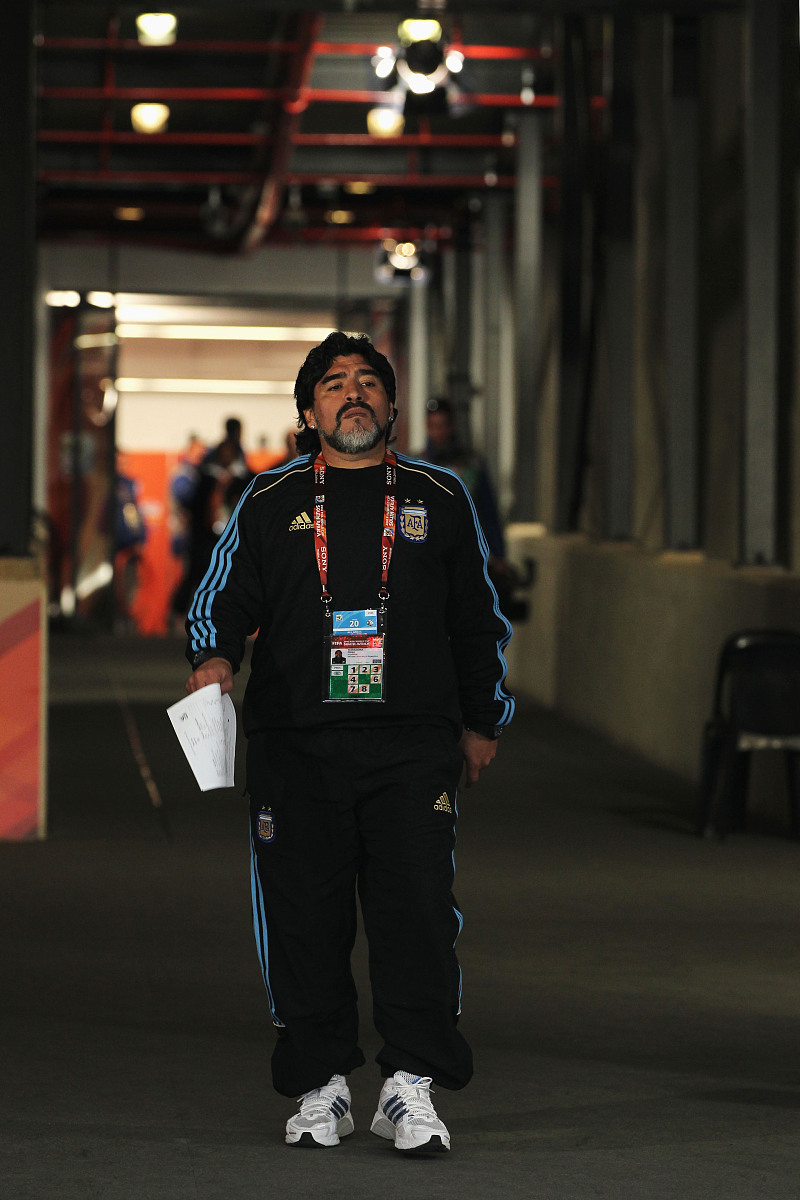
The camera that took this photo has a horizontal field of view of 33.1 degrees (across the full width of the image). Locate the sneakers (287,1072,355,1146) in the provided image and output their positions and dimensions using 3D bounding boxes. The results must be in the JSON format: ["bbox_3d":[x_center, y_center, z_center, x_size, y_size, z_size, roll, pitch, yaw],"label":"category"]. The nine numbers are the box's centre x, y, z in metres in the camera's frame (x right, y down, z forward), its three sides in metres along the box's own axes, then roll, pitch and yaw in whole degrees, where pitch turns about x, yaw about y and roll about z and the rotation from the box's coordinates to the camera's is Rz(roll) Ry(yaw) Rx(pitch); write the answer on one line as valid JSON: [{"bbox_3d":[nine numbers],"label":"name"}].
[{"bbox_3d":[-0.125,0.810,2.112,0.063,0.062,0.144,-4,-13,8],"label":"sneakers"}]

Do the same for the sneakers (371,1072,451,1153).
[{"bbox_3d":[0.016,0.793,2.071,0.073,0.085,0.182,6,-13,-17],"label":"sneakers"}]

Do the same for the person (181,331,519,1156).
[{"bbox_3d":[-0.058,0.223,2.129,0.545,1.301,0.406,0,5,-9],"label":"person"}]
